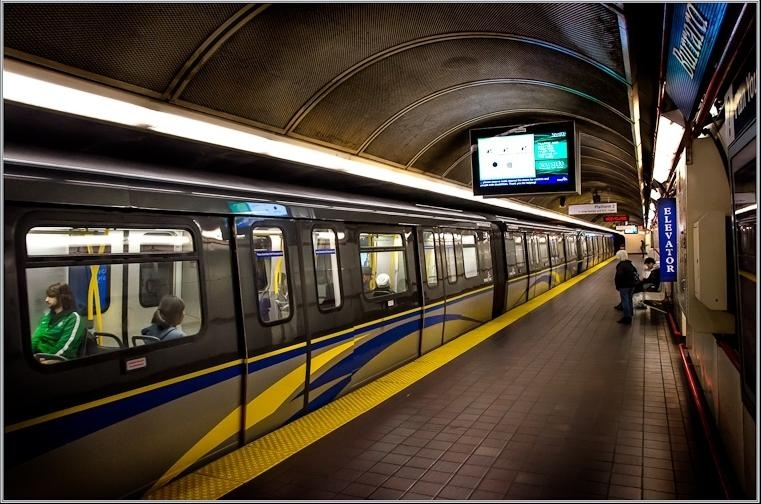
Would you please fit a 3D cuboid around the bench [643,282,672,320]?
[{"bbox_3d":[8.794,1.517,13.946,0.826,1.057,1.686,-4,-5,35],"label":"bench"}]

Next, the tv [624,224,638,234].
[{"bbox_3d":[24.266,-2.189,42.141,0.999,0.770,2.714,0,3,30],"label":"tv"}]

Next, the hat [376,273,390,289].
[{"bbox_3d":[0.057,0.543,8.014,0.214,0.262,0.265,-1,5,15],"label":"hat"}]

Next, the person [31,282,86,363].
[{"bbox_3d":[-3.090,0.672,4.168,0.264,0.712,0.504,-2,3,6],"label":"person"}]

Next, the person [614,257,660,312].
[{"bbox_3d":[7.982,1.096,13.473,1.360,0.685,1.642,-7,-36,19],"label":"person"}]
